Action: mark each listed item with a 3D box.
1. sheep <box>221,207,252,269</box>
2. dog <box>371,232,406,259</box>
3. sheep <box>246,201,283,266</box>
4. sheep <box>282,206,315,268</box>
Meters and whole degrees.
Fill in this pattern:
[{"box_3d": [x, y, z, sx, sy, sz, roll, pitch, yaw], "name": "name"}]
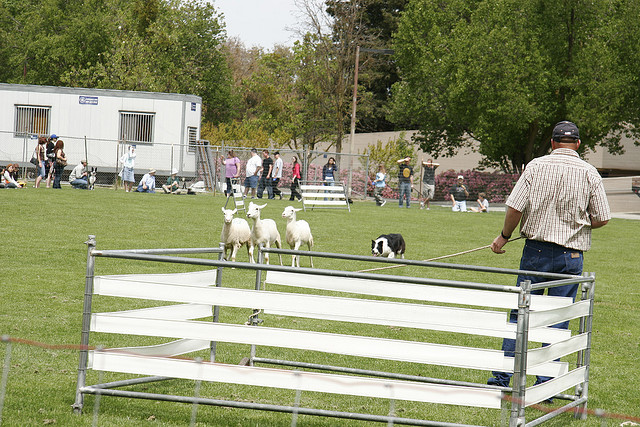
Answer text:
[{"box_3d": [-3.432, 1.031, 44.729, 1.115, 2.348, 3.236, -1, 2, 7], "name": "sheep"}, {"box_3d": [2.866, 1.484, 46.352, 0.813, 1.208, 2.391, 3, 8, 33], "name": "dog"}, {"box_3d": [-2.298, 0.892, 45.036, 1.100, 2.633, 3.190, -2, -1, 14], "name": "sheep"}, {"box_3d": [-0.876, 1.028, 44.853, 0.961, 2.096, 2.208, 11, -5, -35], "name": "sheep"}]
